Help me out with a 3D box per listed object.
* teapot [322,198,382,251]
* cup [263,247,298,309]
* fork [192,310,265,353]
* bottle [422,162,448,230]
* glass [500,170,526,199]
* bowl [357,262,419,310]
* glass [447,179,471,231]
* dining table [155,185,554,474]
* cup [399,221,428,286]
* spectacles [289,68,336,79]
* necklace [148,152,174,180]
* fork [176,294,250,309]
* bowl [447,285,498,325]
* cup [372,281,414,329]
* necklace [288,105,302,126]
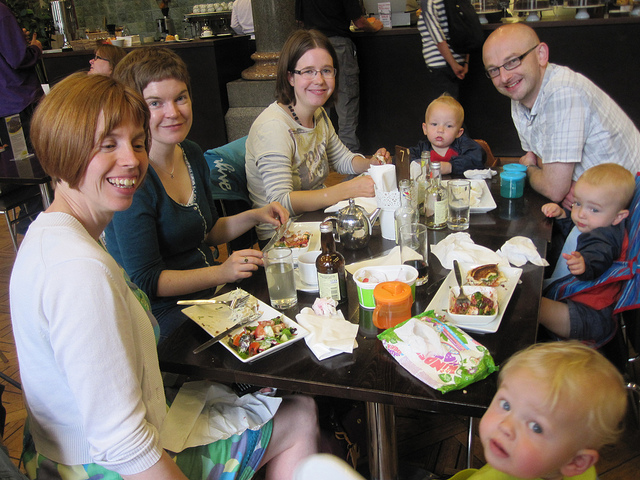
[{"bbox_3d":[0.125,-0.064,1.914,0.235,0.192,0.148,-10,16,-12],"label":"teapot"},{"bbox_3d":[-0.132,0.124,1.601,0.099,0.185,0.106,-7,13,2],"label":"cup"},{"bbox_3d":[-0.274,0.282,1.463,0.031,0.017,0.247,38,36,21],"label":"fork"},{"bbox_3d":[0.491,-0.194,2.032,0.099,0.279,0.104,-5,25,3],"label":"bottle"},{"bbox_3d":[0.906,-0.259,2.265,0.103,0.114,0.081,5,23,30],"label":"glass"},{"bbox_3d":[0.210,0.119,1.539,0.122,0.085,0.183,4,17,20],"label":"bowl"},{"bbox_3d":[0.587,-0.156,2.037,0.087,0.169,0.212,-1,21,18],"label":"glass"},{"bbox_3d":[0.107,0.290,1.550,0.515,0.520,1.015,4,28,14],"label":"dining table"},{"bbox_3d":[0.338,0.046,1.731,0.097,0.182,0.099,4,11,-1],"label":"cup"},{"bbox_3d":[-0.033,-0.868,2.502,0.114,0.036,0.115,7,15,34],"label":"spectacles"},{"bbox_3d":[-0.638,-0.298,1.920,0.131,0.037,0.086,34,-13,-10],"label":"necklace"},{"bbox_3d":[-0.363,0.211,1.648,0.221,0.028,0.055,-6,24,-6],"label":"fork"},{"bbox_3d":[0.463,0.193,1.460,0.146,0.064,0.165,-1,22,18],"label":"bowl"},{"bbox_3d":[0.212,0.212,1.450,0.108,0.135,0.145,12,33,30],"label":"cup"},{"bbox_3d":[-0.139,-0.679,2.591,0.018,0.162,0.010,-38,12,-36],"label":"necklace"}]
